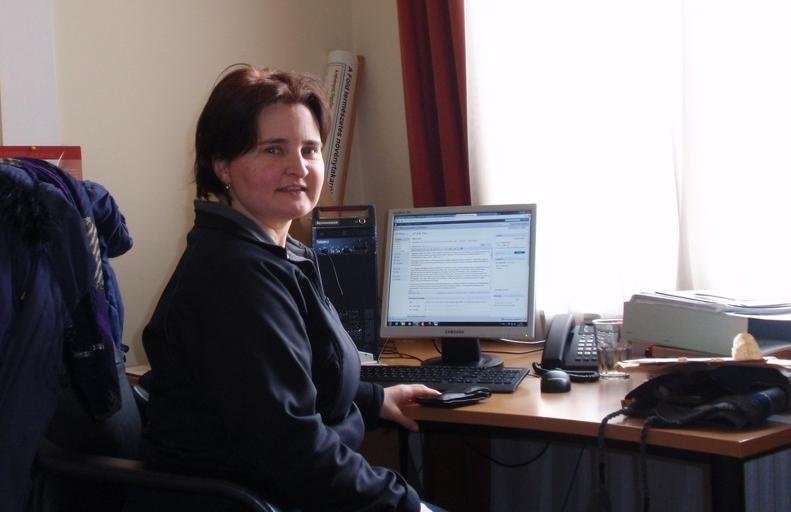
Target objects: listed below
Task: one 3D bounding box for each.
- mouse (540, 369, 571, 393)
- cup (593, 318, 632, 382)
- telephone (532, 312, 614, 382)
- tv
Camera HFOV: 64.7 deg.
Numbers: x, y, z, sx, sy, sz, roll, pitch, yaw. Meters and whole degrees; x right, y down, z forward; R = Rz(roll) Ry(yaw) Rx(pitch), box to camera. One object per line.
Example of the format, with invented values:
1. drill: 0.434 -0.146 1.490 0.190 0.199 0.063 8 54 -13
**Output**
1. mouse: 0.525 0.398 2.014 0.074 0.052 0.073 0 -5 -16
2. cup: 0.753 0.329 2.158 0.130 0.185 0.132 2 -9 0
3. telephone: 0.683 0.312 2.322 0.271 0.123 0.347 0 13 33
4. tv: 0.247 0.103 2.373 0.603 0.602 0.220 -1 -7 17
